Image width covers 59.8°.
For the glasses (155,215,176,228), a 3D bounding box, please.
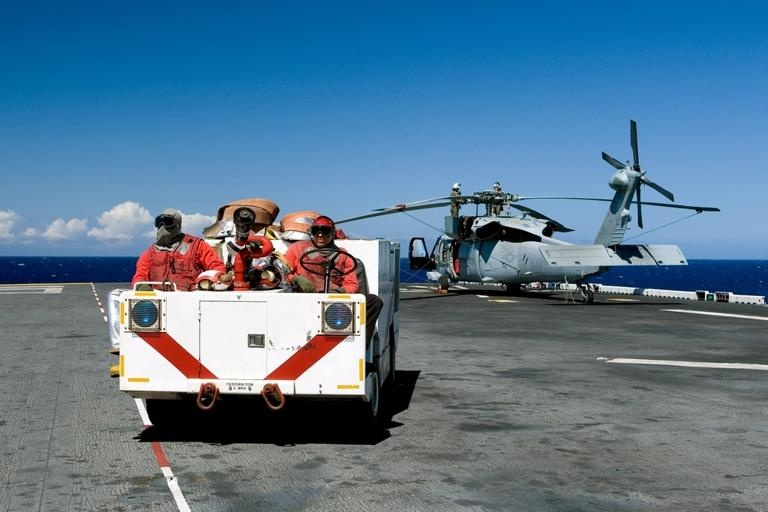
[{"bbox_3d":[-3.226,-0.505,9.868,0.279,0.188,0.172,0,2,-15],"label":"glasses"}]
